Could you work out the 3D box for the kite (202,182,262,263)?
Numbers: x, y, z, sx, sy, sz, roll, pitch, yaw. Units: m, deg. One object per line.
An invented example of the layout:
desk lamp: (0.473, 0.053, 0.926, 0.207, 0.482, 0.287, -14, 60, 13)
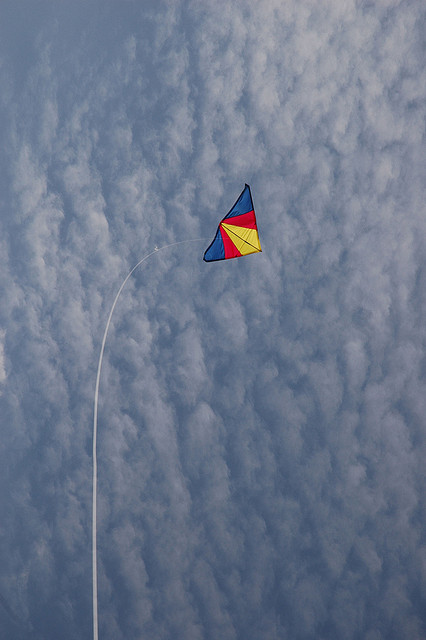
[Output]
kite: (0.139, -0.452, 6.076, 0.288, 0.620, 0.029, 29, 46, -12)
